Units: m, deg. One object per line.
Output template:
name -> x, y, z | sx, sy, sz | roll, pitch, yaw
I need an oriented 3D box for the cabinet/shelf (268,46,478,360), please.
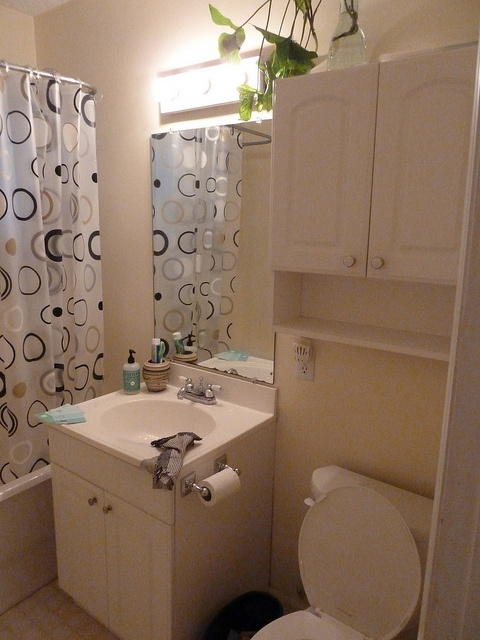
cabinet/shelf -> 0.324, -0.281, 1.287 | 0.552, 0.699, 0.288 | 9, 14, 37

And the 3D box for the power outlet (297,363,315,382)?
power outlet -> 0.223, 0.174, 1.625 | 0.044, 0.072, 0.007 | 17, 36, 29

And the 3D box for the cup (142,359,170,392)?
cup -> -0.332, 0.214, 1.887 | 0.089, 0.124, 0.114 | -1, 0, -9

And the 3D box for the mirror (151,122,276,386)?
mirror -> -0.121, -0.252, 1.823 | 0.607, 0.900, 0.036 | 10, 14, 38

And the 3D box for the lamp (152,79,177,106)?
lamp -> -0.292, -0.859, 1.807 | 0.051, 0.079, 0.142 | -9, 15, -40

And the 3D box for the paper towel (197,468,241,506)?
paper towel -> -0.061, 0.451, 1.362 | 0.076, 0.098, 0.122 | 16, 15, 35
